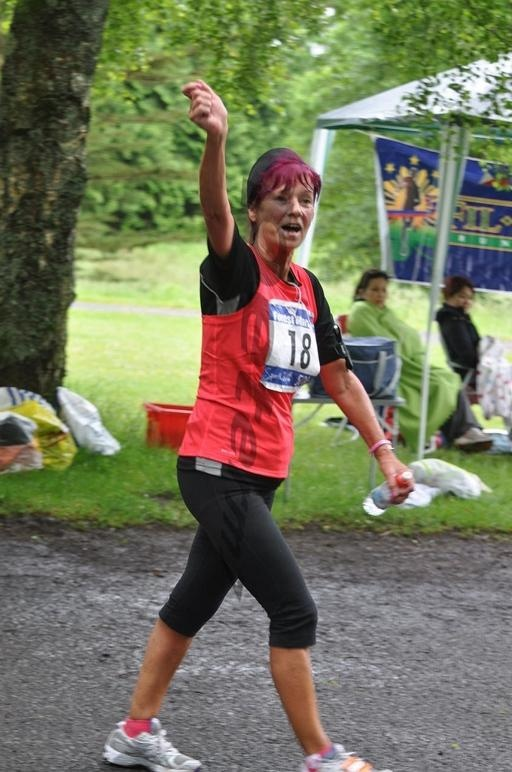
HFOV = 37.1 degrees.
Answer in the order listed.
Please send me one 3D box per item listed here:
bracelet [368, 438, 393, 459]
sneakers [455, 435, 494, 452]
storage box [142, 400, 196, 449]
[{"bbox_3d":[0.338,0.170,2.057,0.057,0.031,0.064,1,-20,-16],"label":"bracelet"},{"bbox_3d":[2.034,0.536,7.063,0.412,0.159,0.129,-3,-17,25],"label":"sneakers"},{"bbox_3d":[-0.701,0.316,6.172,0.536,0.344,0.434,7,6,5],"label":"storage box"}]
